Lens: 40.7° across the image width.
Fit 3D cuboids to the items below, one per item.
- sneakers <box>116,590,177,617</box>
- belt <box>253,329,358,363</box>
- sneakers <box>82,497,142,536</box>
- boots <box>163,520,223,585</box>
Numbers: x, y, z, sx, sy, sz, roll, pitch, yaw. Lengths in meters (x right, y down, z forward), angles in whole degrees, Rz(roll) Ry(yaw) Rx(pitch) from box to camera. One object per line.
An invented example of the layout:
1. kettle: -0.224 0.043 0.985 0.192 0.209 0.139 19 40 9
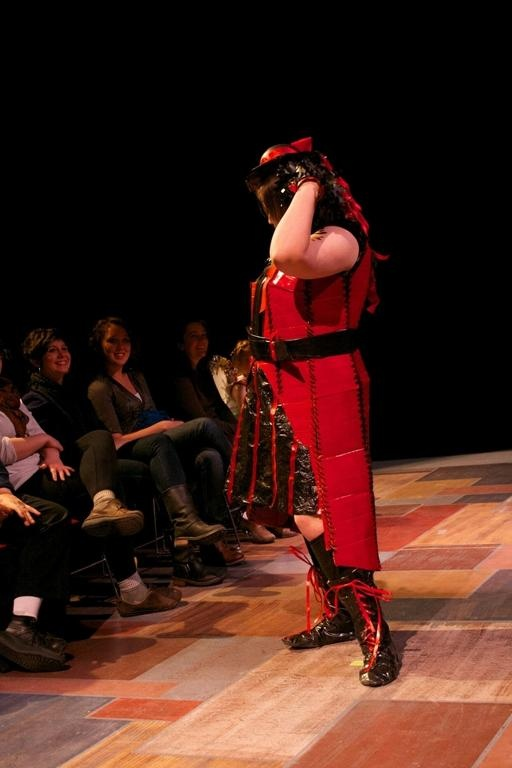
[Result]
1. sneakers: -0.382 0.746 2.380 0.186 0.062 0.094 -6 -3 -5
2. belt: 0.101 -0.086 1.539 0.231 0.057 0.091 -8 3 13
3. sneakers: -0.443 0.418 2.180 0.213 0.113 0.089 -2 13 -6
4. boots: -0.193 0.676 2.724 0.326 0.263 0.153 -1 4 0
